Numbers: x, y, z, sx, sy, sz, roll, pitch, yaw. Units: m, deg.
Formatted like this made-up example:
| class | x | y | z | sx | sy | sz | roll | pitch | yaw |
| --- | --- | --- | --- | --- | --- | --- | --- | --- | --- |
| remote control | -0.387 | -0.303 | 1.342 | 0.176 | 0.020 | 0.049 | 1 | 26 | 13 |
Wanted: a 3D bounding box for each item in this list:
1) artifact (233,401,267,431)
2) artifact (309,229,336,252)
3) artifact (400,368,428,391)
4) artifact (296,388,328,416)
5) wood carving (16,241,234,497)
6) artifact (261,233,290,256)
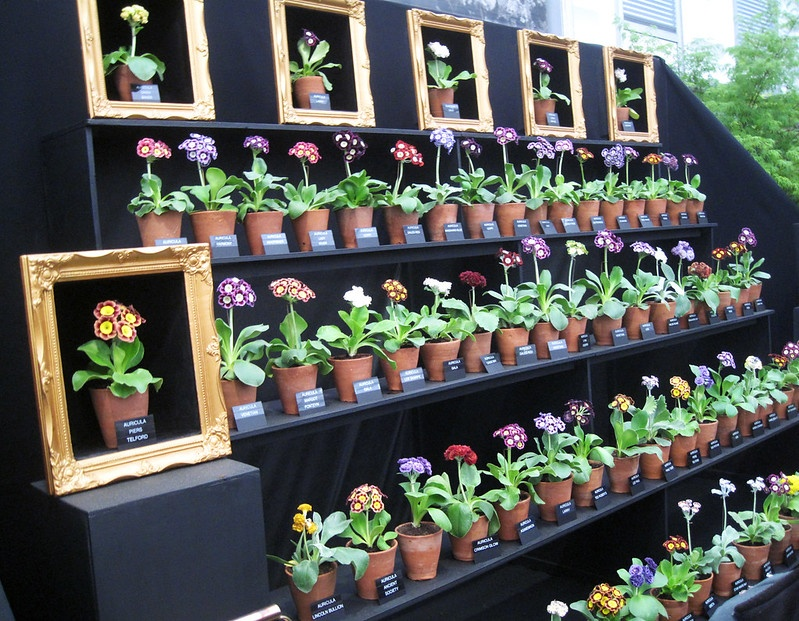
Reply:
| class | x | y | z | sx | sy | sz | roll | pitch | yaw |
| --- | --- | --- | --- | --- | --- | --- | --- | --- | --- |
| artifact | -0.508 | 0.355 | 2.140 | 0.091 | 0.067 | 0.031 | -4 | -15 | -34 |
| artifact | -0.295 | -0.267 | 2.417 | 0.091 | 0.085 | 0.021 | -7 | -4 | -39 |
| artifact | 0.048 | 0.269 | 2.489 | 0.084 | 0.056 | 0.023 | -8 | -13 | -47 |
| artifact | -0.307 | 0.323 | 2.243 | 0.096 | 0.085 | 0.024 | -9 | -1 | -34 |
| wood carving | -0.832 | 0.149 | 1.962 | 0.514 | 0.673 | 0.274 | -9 | 6 | -30 |
| artifact | -0.453 | -0.246 | 2.323 | 0.092 | 0.087 | 0.022 | -7 | -2 | -38 |
